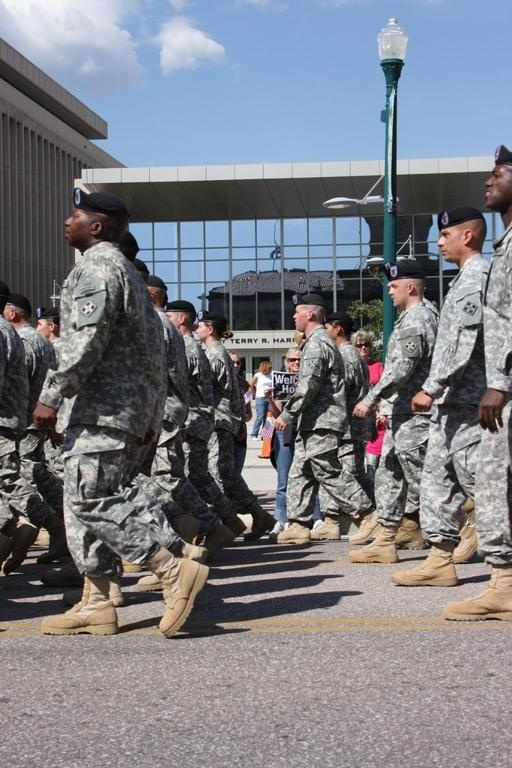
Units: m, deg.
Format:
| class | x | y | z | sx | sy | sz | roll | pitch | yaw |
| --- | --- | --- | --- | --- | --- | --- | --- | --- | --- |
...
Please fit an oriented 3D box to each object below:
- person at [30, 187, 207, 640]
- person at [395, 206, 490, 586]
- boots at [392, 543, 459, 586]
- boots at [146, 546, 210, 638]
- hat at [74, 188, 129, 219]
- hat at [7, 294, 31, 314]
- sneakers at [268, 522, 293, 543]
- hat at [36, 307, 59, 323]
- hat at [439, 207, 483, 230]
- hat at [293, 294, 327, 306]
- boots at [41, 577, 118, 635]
| class | x | y | z | sx | sy | sz | roll | pitch | yaw |
| --- | --- | --- | --- | --- | --- | --- | --- | --- | --- |
| person | -0.678 | 0.122 | 4.447 | 0.746 | 2.117 | 0.571 | -3 | 0 | -13 |
| person | 1.121 | 0.056 | 5.683 | 0.612 | 2.162 | 0.869 | 0 | 5 | 15 |
| boots | 1.065 | 1.129 | 5.824 | 0.484 | 0.300 | 0.183 | 0 | -5 | 12 |
| boots | -0.361 | 0.977 | 4.411 | 0.263 | 0.416 | 0.201 | -2 | 0 | -4 |
| hat | -0.755 | -0.894 | 4.578 | 0.218 | 0.070 | 0.170 | 13 | 7 | 15 |
| hat | -1.995 | -0.648 | 7.821 | 0.229 | 0.114 | 0.169 | 28 | 16 | 19 |
| sneakers | 0.212 | 1.306 | 8.274 | 0.195 | 0.205 | 0.523 | 1 | -9 | 6 |
| hat | -2.010 | -0.663 | 9.100 | 0.297 | 0.099 | 0.237 | 1 | 6 | -19 |
| hat | 1.211 | -0.976 | 5.570 | 0.225 | 0.080 | 0.162 | -5 | 6 | 10 |
| hat | 0.442 | -0.732 | 8.238 | 0.187 | 0.057 | 0.171 | 3 | 1 | 33 |
| boots | -0.870 | 1.078 | 4.619 | 0.393 | 0.273 | 0.146 | -4 | -1 | 10 |
